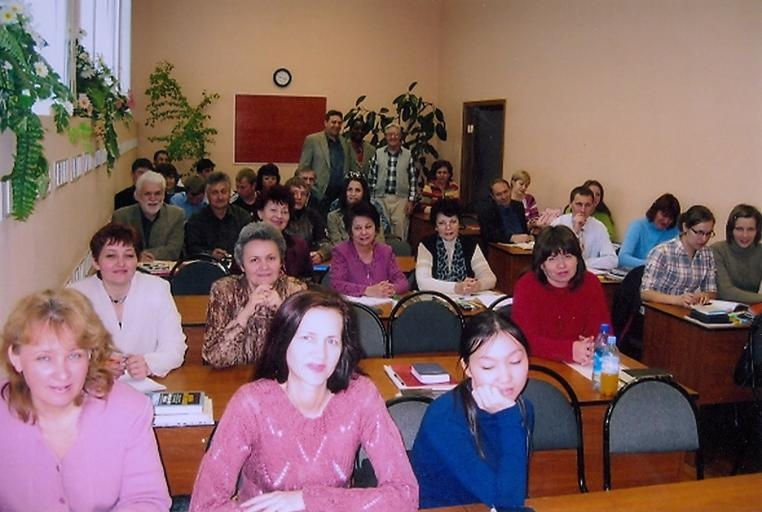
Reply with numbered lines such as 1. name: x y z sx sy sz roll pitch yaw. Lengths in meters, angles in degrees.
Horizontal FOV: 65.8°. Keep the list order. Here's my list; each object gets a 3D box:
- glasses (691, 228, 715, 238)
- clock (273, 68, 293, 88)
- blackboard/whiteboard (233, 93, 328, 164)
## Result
1. glasses: 2.543 -0.191 4.692 0.097 0.031 0.101 -1 25 -6
2. clock: -1.766 -3.169 10.483 0.356 0.332 0.065 -1 8 -11
3. blackboard/whiteboard: -1.842 -2.255 10.285 1.603 1.216 0.063 0 3 -14
